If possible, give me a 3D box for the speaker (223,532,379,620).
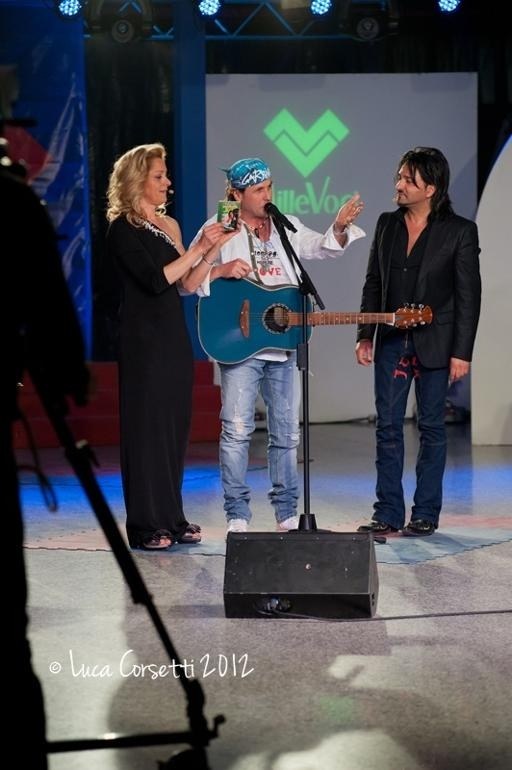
[{"bbox_3d":[0.118,0.538,2.222,0.492,0.243,0.285,-4,-9,10],"label":"speaker"}]

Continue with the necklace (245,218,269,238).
[{"bbox_3d":[0.018,-0.659,3.220,0.065,0.101,0.028,0,4,1],"label":"necklace"}]

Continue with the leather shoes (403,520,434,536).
[{"bbox_3d":[0.708,0.619,3.357,0.154,0.052,0.060,-1,-17,2],"label":"leather shoes"}]

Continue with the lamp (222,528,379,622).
[{"bbox_3d":[0.138,0.547,2.287,0.434,0.232,0.225,-4,-7,12],"label":"lamp"}]

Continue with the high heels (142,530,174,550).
[{"bbox_3d":[-0.395,0.631,3.116,0.119,0.057,0.050,-2,-7,-7],"label":"high heels"}]

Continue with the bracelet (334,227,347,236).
[{"bbox_3d":[0.351,-0.642,3.212,0.035,0.017,0.043,-1,0,-4],"label":"bracelet"}]
